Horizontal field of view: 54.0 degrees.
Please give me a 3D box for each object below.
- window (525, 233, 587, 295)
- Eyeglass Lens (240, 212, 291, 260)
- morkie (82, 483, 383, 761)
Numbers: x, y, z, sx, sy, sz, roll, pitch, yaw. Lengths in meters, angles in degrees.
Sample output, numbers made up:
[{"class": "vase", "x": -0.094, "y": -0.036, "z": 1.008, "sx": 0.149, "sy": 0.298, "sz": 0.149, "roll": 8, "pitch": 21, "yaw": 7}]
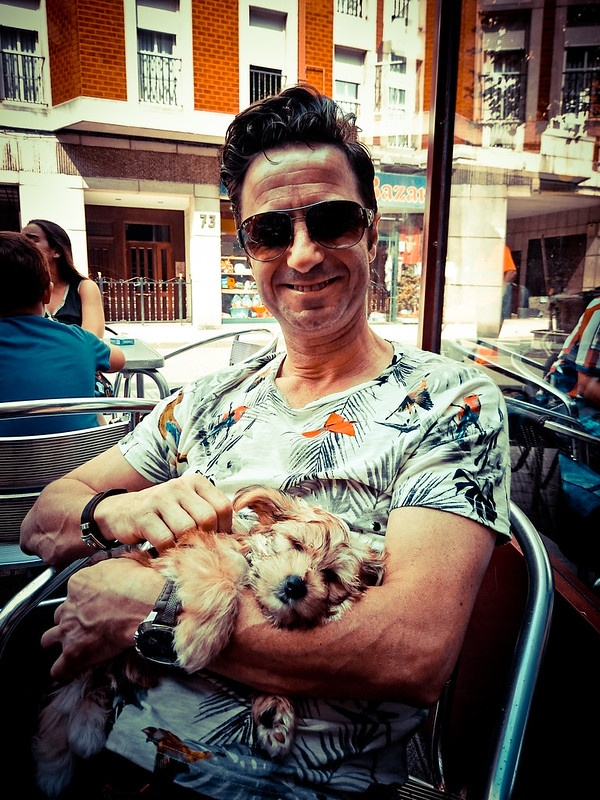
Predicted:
[{"class": "window", "x": 0.874, "y": -0.468, "z": 2.022, "sx": 0.048, "sy": 0.179, "sz": 0.196, "roll": 0, "pitch": 8, "yaw": -23}, {"class": "Eyeglass Lens", "x": -0.084, "y": -0.413, "z": 1.460, "sx": 0.115, "sy": 0.049, "sz": 0.117, "roll": -8, "pitch": 16, "yaw": 18}, {"class": "morkie", "x": -0.076, "y": 0.323, "z": 1.044, "sx": 0.377, "sy": 0.219, "sz": 0.326, "roll": 10, "pitch": 16, "yaw": 38}]
